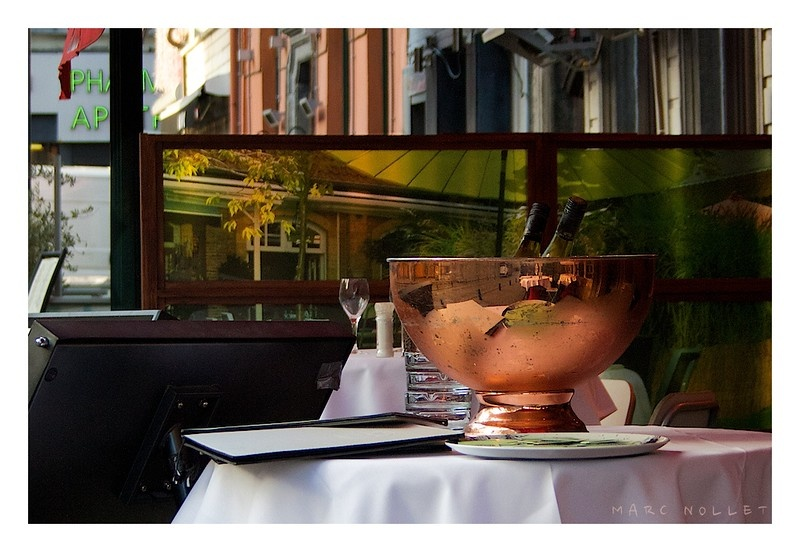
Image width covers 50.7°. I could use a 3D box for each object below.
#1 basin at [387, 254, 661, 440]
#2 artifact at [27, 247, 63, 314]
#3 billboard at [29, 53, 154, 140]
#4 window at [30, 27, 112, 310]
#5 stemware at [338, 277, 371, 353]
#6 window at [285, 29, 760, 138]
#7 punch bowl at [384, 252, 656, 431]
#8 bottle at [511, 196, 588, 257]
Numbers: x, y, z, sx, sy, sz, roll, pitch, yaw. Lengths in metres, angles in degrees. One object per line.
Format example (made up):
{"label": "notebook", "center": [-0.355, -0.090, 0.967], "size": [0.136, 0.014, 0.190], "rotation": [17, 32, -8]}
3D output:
{"label": "basin", "center": [0.191, 0.085, 1.336], "size": [0.305, 0.213, 0.326], "rotation": [-1, -7, 0]}
{"label": "artifact", "center": [-1.665, 0.024, 4.023], "size": [0.159, 0.303, 0.446], "rotation": [-1, 10, -23]}
{"label": "billboard", "center": [-1.733, -1.055, 4.943], "size": [0.653, 0.484, 0.394], "rotation": [1, 7, 13]}
{"label": "window", "center": [-1.849, -0.593, 4.761], "size": [0.446, 1.569, 0.299], "rotation": [0, 9, -18]}
{"label": "stemware", "center": [-0.201, 0.169, 3.556], "size": [0.108, 0.354, 0.294], "rotation": [2, 9, -3]}
{"label": "window", "center": [1.188, -1.144, 4.947], "size": [1.976, 0.723, 0.137], "rotation": [3, 9, -5]}
{"label": "punch bowl", "center": [0.214, 0.116, 1.519], "size": [0.465, 0.323, 0.464], "rotation": [-2, 1, 0]}
{"label": "bottle", "center": [0.262, -0.083, 1.515], "size": [0.112, 0.127, 0.364], "rotation": [5, 9, 11]}
